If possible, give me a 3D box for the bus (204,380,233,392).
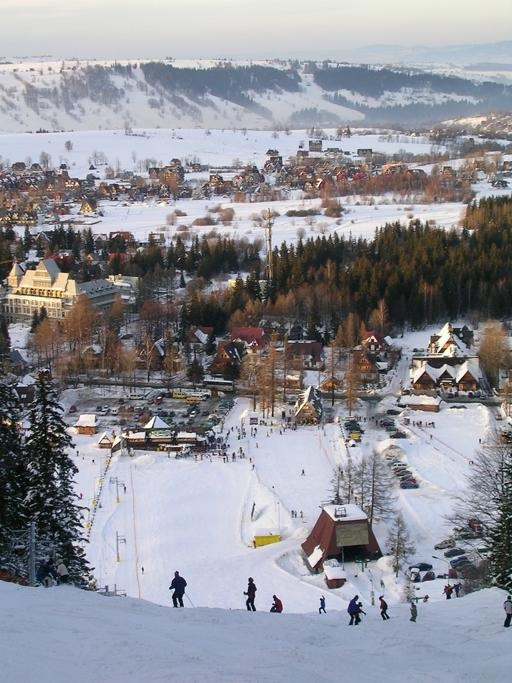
[{"bbox_3d":[-1.384,1.721,61.717,1.214,0.351,1.167,-4,15,-2],"label":"bus"}]
